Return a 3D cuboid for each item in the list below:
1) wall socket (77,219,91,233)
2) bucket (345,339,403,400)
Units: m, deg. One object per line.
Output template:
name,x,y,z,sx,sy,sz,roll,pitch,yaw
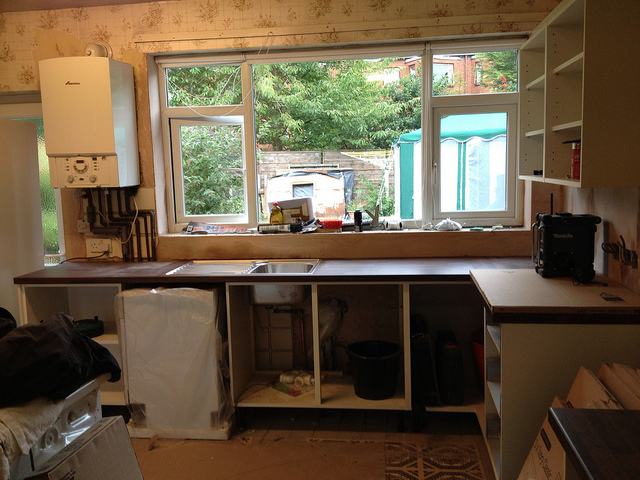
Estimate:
wall socket,-2.003,-0.121,4.460,0.098,0.096,0.054,1,9,0
bucket,0.399,0.928,3.816,0.403,0.321,0.374,-2,8,0
